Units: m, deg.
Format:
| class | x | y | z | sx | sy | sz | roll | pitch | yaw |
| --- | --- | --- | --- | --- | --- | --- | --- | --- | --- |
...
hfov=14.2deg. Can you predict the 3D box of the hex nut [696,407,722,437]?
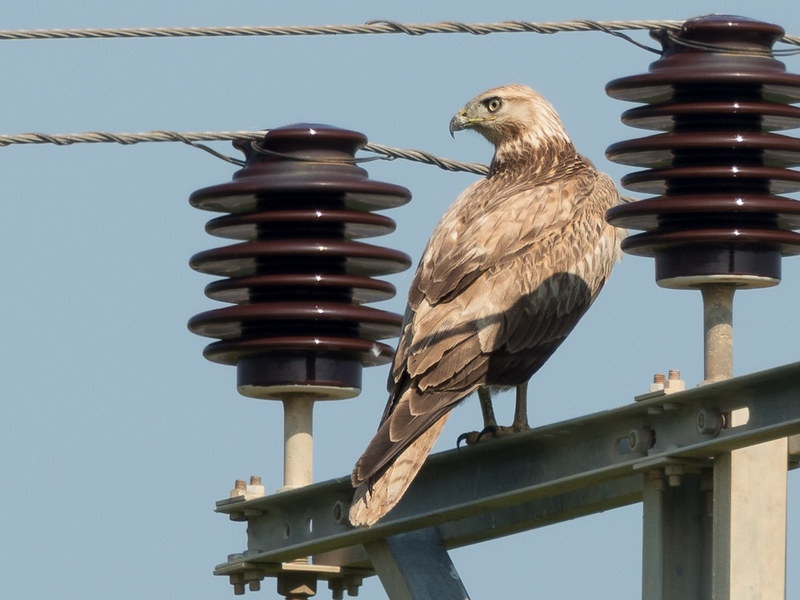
| class | x | y | z | sx | sy | sz | roll | pitch | yaw |
| --- | --- | --- | --- | --- | --- | --- | --- | --- | --- |
| hex nut | 1.712 | 0.690 | 17.602 | 0.103 | 0.163 | 0.179 | 2 | 0 | -31 |
